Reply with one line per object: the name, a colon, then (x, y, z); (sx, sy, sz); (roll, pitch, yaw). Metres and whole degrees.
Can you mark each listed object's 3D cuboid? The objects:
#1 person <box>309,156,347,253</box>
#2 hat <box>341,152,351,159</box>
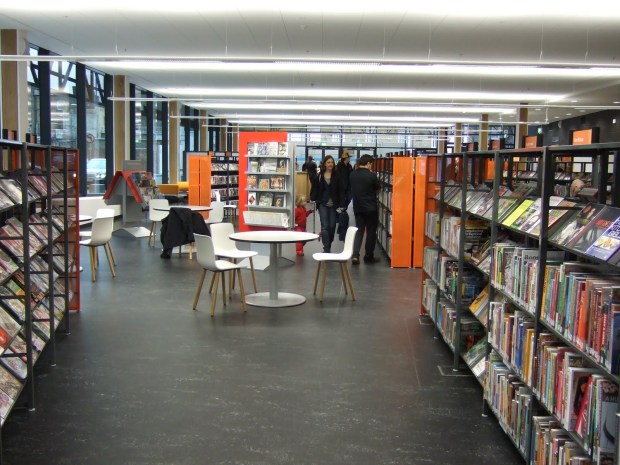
person: (0.342, -0.514, 9.465); (0.738, 1.876, 0.688); (1, 10, 3)
hat: (0.767, -1.569, 10.242); (0.261, 0.098, 0.267); (4, 8, 31)
